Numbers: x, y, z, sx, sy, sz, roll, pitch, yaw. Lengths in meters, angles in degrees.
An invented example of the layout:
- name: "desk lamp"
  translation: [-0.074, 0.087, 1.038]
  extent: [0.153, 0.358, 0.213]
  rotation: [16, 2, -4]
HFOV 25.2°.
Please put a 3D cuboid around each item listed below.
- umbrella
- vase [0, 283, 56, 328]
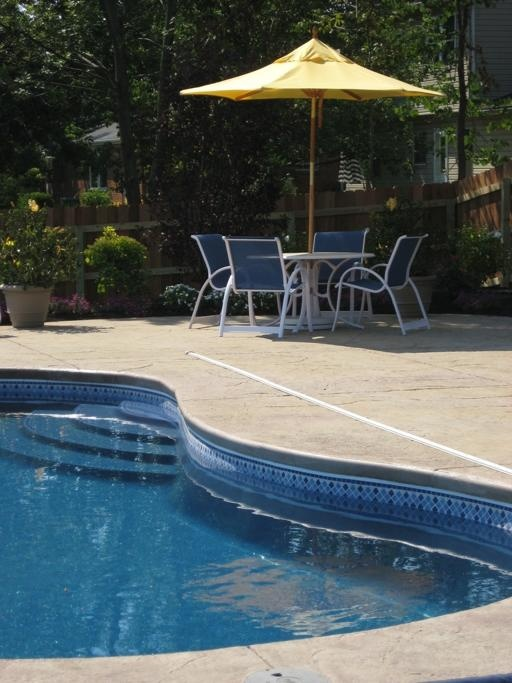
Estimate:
- name: "umbrella"
  translation: [0.422, -1.712, 9.756]
  extent: [1.672, 1.898, 1.643]
  rotation: [-2, 10, -23]
- name: "vase"
  translation: [-2.127, -0.322, 10.603]
  extent: [0.446, 0.430, 0.354]
  rotation: [0, 10, -13]
